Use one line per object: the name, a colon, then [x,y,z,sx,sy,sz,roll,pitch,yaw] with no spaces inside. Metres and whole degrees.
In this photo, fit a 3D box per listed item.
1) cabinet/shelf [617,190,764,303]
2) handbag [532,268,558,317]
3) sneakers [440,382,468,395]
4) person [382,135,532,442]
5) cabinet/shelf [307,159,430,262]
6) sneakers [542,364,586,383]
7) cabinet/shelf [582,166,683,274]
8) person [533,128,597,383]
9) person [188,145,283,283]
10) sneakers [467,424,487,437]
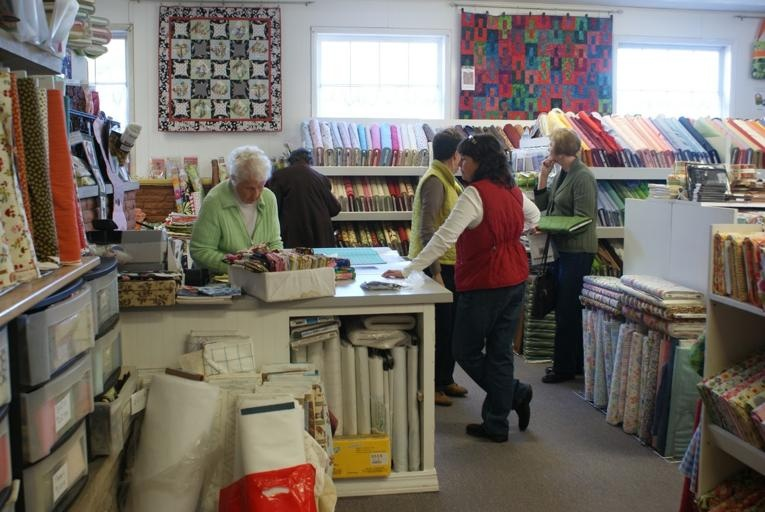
cabinet/shelf: [1.983,-0.050,3.874,0.233,0.699,0.727,-1,7,-14]
handbag: [1.393,0.321,5.193,0.103,0.423,0.392,8,8,35]
sneakers: [0.582,1.099,4.967,0.234,0.114,0.089,-2,5,5]
person: [0.611,0.255,4.036,0.695,2.066,0.366,1,11,4]
cabinet/shelf: [-0.163,-0.467,6.116,1.023,1.038,0.387,-1,1,-9]
sneakers: [1.599,1.062,5.357,0.445,0.205,0.158,1,2,-13]
cabinet/shelf: [2.088,-0.275,5.128,0.404,0.881,0.882,1,13,2]
person: [1.542,0.007,5.242,0.443,2.147,0.442,-6,12,-27]
person: [-0.968,-0.173,4.190,0.606,1.117,0.699,15,16,42]
sneakers: [0.655,1.226,4.242,0.143,0.066,0.064,9,9,30]
